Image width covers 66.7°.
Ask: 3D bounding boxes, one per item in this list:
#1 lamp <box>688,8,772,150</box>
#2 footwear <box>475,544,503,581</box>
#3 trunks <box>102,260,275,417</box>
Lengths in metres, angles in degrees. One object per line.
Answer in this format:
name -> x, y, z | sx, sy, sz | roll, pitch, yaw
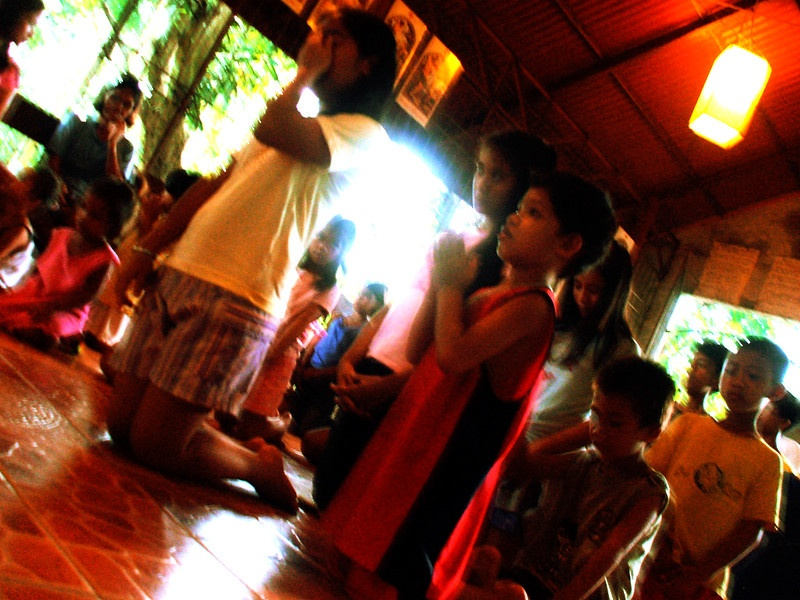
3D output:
lamp -> 2.768, -1.741, 5.091 | 0.449, 0.711, 0.358 | 24, -10, 18
footwear -> 0.305, 0.921, 2.127 | 0.091, 0.126, 0.029 | 5, -6, -5
trunks -> -0.758, 0.109, 2.313 | 0.597, 0.441, 0.361 | 24, -2, 30
